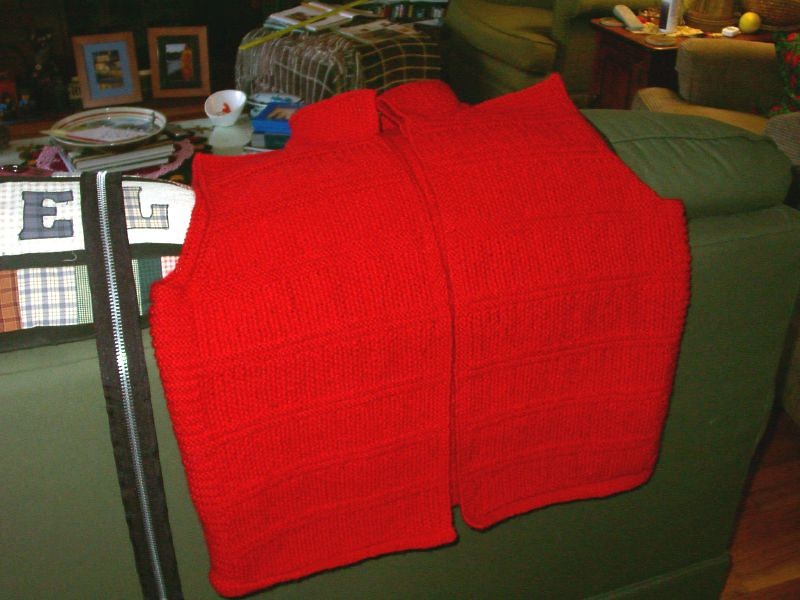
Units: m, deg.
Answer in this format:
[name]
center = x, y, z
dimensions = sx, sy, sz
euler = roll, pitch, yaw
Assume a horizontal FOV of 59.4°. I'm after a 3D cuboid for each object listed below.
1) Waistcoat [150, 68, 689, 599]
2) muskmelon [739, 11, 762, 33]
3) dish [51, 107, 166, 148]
[Waistcoat]
center = 0.006, 0.014, 0.889
dimensions = 0.646, 0.568, 0.306
euler = -10, 22, -15
[muskmelon]
center = 1.215, -0.954, 2.424
dimensions = 0.073, 0.074, 0.086
euler = 3, 21, 22
[dish]
center = -0.751, -0.460, 1.808
dimensions = 0.192, 0.014, 0.189
euler = -4, 7, 43
